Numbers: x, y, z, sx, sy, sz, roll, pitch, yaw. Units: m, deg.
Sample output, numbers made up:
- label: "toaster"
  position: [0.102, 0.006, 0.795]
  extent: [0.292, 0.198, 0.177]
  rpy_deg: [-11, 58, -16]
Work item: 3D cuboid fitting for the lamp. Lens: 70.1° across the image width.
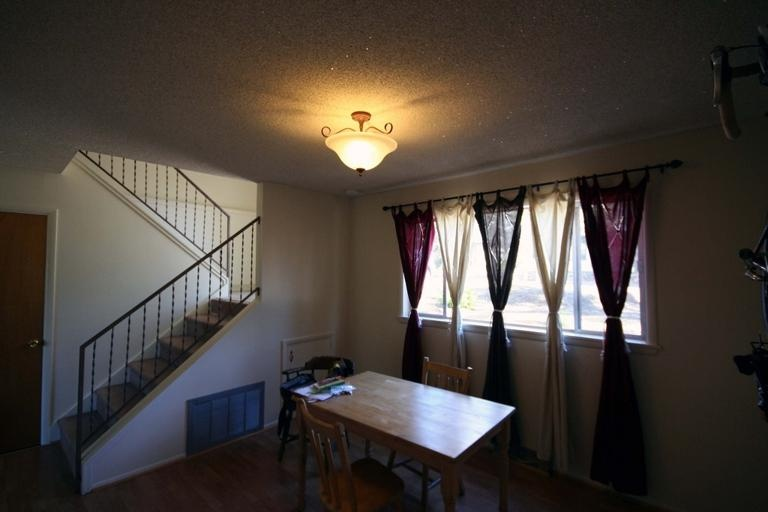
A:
- label: "lamp"
  position: [-0.212, -0.978, 5.040]
  extent: [0.607, 0.494, 0.569]
  rpy_deg: [1, -7, -15]
